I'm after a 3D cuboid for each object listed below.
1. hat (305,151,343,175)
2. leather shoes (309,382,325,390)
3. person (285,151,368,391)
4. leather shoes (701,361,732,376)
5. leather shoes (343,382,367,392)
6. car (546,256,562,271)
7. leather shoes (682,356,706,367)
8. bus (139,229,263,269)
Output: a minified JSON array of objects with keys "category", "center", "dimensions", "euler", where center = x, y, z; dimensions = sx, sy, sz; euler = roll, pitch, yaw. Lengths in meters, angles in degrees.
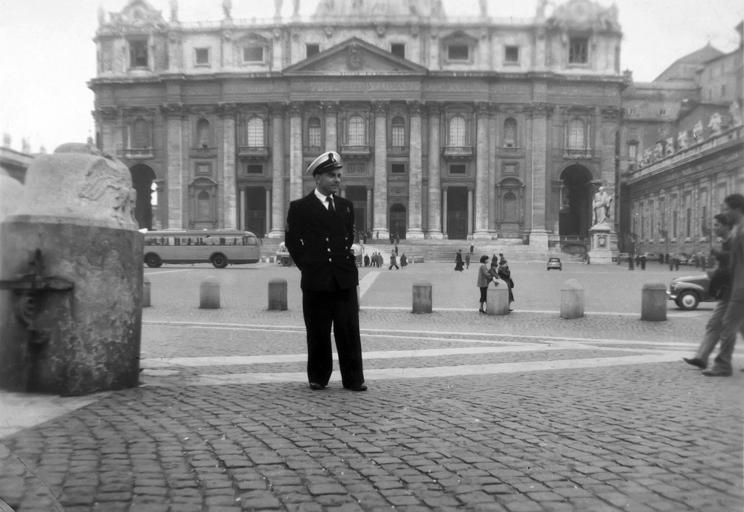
[{"category":"hat","center":[-0.656,-1.247,13.351],"dimensions":[0.383,0.176,0.430],"euler":[-12,-8,-46]},{"category":"leather shoes","center":[-0.720,1.684,13.358],"dimensions":[0.217,0.069,0.087],"euler":[1,-4,-8]},{"category":"person","center":[-0.597,0.201,13.425],"dimensions":[0.967,3.087,0.557],"euler":[-2,5,-4]},{"category":"leather shoes","center":[4.794,1.571,14.272],"dimensions":[0.510,0.189,0.161],"euler":[1,-6,0]},{"category":"leather shoes","center":[-0.218,1.697,13.415],"dimensions":[0.291,0.108,0.109],"euler":[-4,-2,8]},{"category":"car","center":[8.480,0.512,48.002],"dimensions":[0.856,0.603,1.909],"euler":[1,8,11]},{"category":"leather shoes","center":[4.616,1.518,14.737],"dimensions":[0.326,0.126,0.110],"euler":[4,1,43]},{"category":"bus","center":[-8.481,-0.295,50.970],"dimensions":[7.959,1.879,1.920],"euler":[-1,4,1]}]
